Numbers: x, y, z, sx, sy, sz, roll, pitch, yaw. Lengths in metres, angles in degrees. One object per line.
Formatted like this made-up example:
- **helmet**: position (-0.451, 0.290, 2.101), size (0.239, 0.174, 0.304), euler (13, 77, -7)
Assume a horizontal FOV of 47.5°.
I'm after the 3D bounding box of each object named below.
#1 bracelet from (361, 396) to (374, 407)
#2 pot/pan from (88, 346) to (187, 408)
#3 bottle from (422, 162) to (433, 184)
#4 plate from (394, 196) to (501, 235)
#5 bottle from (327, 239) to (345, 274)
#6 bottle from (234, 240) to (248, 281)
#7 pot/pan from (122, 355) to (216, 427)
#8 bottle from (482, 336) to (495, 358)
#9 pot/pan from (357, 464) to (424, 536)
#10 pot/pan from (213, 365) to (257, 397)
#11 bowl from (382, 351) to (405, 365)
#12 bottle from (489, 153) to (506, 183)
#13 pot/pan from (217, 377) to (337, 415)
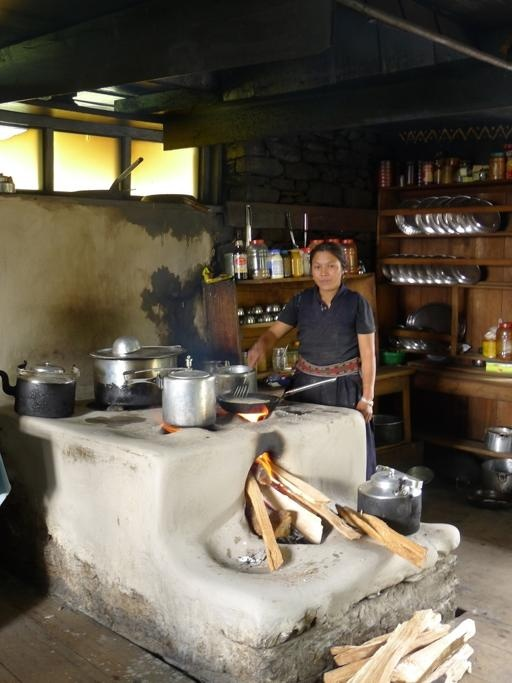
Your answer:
- **bracelet**: position (0.539, 0.299, 2.876), size (0.056, 0.031, 0.052), euler (30, 11, 22)
- **pot/pan**: position (-0.541, 0.125, 2.534), size (0.316, 0.172, 0.319), euler (1, 3, 44)
- **bottle**: position (1.338, -1.317, 4.527), size (0.091, 0.117, 0.052), euler (-5, 3, 15)
- **plate**: position (1.501, -0.934, 4.424), size (0.129, 0.333, 1.144), euler (-16, 18, -34)
- **bottle**: position (0.431, -0.457, 3.075), size (0.077, 0.122, 0.260), euler (-6, 2, 10)
- **bottle**: position (-0.108, -0.515, 3.640), size (0.075, 0.202, 0.114), euler (-6, 2, 13)
- **pot/pan**: position (-0.327, 0.199, 2.202), size (0.357, 0.214, 0.191), euler (0, 11, -5)
- **bottle**: position (1.730, 0.051, 4.341), size (0.075, 0.154, 0.133), euler (-7, 3, -21)
- **pot/pan**: position (0.494, 0.581, 2.143), size (0.245, 0.210, 0.252), euler (-2, 7, -25)
- **pot/pan**: position (-0.092, 0.175, 2.626), size (0.152, 0.098, 0.147), euler (-4, 3, -37)
- **bowl**: position (1.114, 0.132, 4.740), size (0.129, 0.071, 0.119), euler (-1, -2, 0)
- **bottle**: position (1.694, -1.224, 4.070), size (0.109, 0.204, 0.062), euler (-5, 3, 21)
- **pot/pan**: position (0.094, 0.235, 2.415), size (0.412, 0.053, 0.216), euler (-7, 4, -21)
